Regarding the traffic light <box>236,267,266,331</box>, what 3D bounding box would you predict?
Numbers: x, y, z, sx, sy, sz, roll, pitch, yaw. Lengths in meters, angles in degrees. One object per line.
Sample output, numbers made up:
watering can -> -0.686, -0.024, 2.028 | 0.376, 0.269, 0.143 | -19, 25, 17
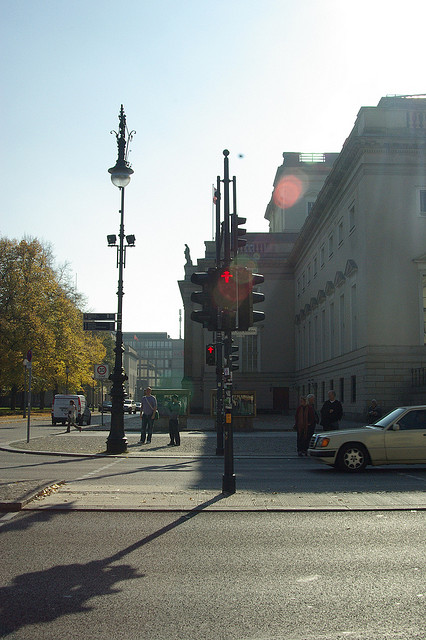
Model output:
traffic light -> 0.537, -0.253, 11.233 | 0.374, 0.938, 0.223 | 1, -21, -3

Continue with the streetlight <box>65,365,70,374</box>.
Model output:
streetlight -> -10.780, 3.612, 58.581 | 0.152, 0.629, 0.306 | -5, -13, 16

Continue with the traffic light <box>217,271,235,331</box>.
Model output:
traffic light -> 0.189, -0.321, 11.203 | 0.375, 0.149, 1.313 | -6, 37, 4

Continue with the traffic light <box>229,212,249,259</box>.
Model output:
traffic light -> 0.424, -1.489, 13.887 | 0.248, 0.747, 0.143 | 1, -20, -2

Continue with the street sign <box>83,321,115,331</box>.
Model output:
street sign -> -2.838, 0.133, 19.668 | 0.694, 0.235, 0.938 | 4, -9, -15

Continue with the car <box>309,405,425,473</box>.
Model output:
car -> 2.861, 2.209, 14.890 | 2.094, 0.904, 1.034 | 2, -8, 1

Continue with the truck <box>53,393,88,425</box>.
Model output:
truck -> -7.404, 4.555, 40.740 | 1.157, 1.442, 2.250 | -1, -3, 5

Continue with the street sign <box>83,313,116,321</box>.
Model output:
street sign -> -2.864, -0.066, 19.699 | 0.815, 0.184, 0.272 | -1, -9, 17

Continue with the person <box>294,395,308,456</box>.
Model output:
person -> 2.072, 2.539, 19.082 | 0.324, 1.429, 1.109 | 1, -8, 6

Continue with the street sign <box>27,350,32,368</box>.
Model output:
street sign -> -5.406, 1.170, 23.339 | 0.063, 0.504, 0.876 | 3, -9, -17

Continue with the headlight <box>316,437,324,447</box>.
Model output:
headlight -> 1.948, 2.266, 14.767 | 0.135, 0.283, 0.123 | 0, -2, 40

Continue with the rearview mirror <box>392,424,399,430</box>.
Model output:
rearview mirror -> 3.323, 1.948, 14.550 | 0.106, 0.126, 0.066 | 1, -1, 11
